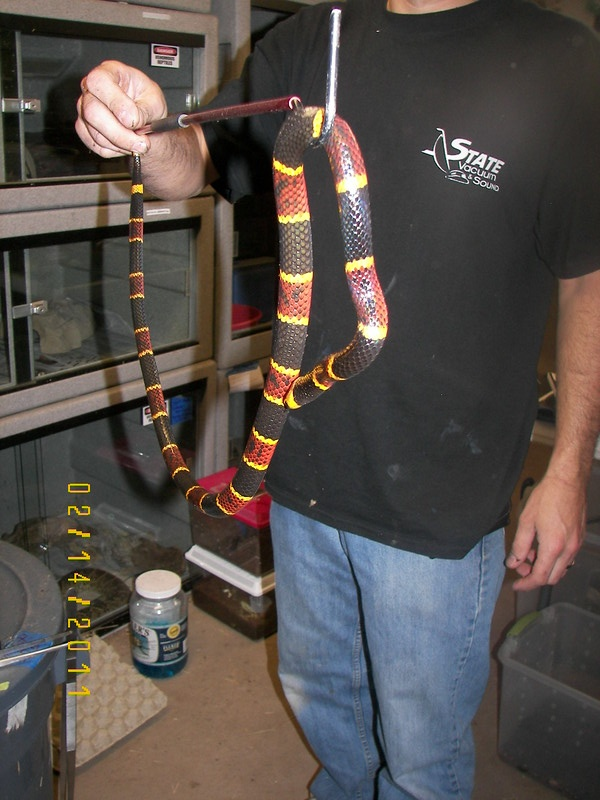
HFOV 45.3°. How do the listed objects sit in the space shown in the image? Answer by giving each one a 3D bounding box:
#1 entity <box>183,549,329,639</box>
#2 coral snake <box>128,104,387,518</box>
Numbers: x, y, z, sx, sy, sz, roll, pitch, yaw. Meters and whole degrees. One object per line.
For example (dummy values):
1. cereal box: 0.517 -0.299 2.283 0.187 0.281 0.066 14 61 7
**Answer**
1. entity: -0.183 0.714 2.841 0.442 0.289 0.290 18 22 39
2. coral snake: -0.056 -0.108 1.048 0.084 0.662 0.511 -17 47 -27
